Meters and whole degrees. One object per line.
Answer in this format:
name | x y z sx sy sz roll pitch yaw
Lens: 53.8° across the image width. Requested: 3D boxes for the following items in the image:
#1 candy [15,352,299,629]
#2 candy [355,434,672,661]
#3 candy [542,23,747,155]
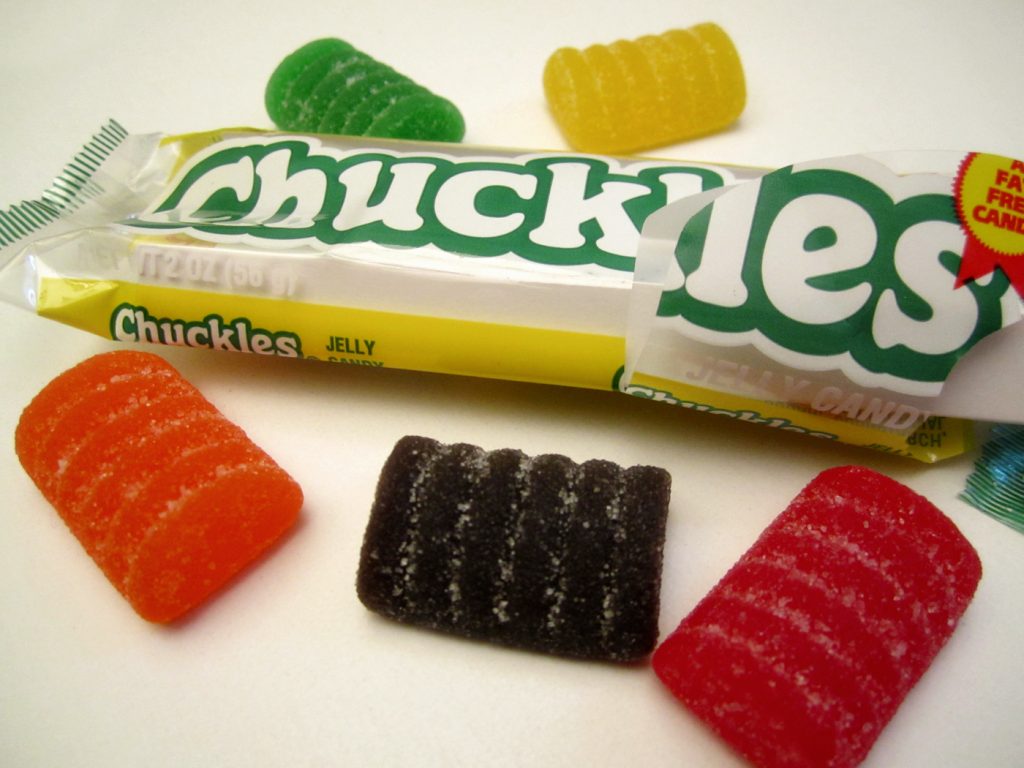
candy | -0.423 0.104 1.194 0.315 0.174 0.212 28 49 30
candy | 0.003 0.179 1.152 0.340 0.140 0.172 6 41 9
candy | 0.177 -0.458 1.559 0.346 0.147 0.265 -12 10 -12
